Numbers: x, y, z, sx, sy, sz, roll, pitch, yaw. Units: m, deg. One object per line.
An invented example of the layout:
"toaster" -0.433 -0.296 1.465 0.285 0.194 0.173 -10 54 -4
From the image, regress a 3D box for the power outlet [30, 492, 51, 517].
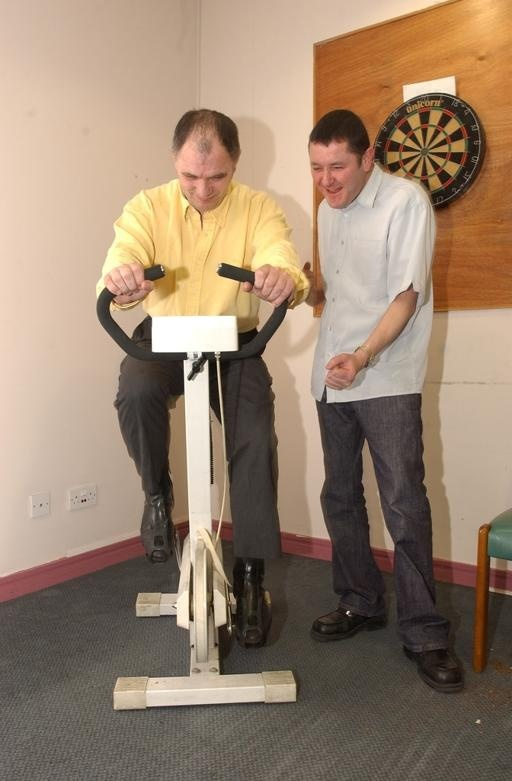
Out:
"power outlet" -0.832 0.436 2.355 0.015 0.103 0.106 1 -1 27

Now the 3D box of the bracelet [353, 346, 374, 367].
"bracelet" 0.278 -0.092 1.601 0.025 0.062 0.047 -13 21 -35

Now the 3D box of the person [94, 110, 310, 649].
"person" -0.139 0.003 1.604 0.516 1.300 0.646 0 0 -12

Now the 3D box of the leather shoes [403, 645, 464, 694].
"leather shoes" 0.471 0.721 1.635 0.089 0.106 0.216 0 0 -7
